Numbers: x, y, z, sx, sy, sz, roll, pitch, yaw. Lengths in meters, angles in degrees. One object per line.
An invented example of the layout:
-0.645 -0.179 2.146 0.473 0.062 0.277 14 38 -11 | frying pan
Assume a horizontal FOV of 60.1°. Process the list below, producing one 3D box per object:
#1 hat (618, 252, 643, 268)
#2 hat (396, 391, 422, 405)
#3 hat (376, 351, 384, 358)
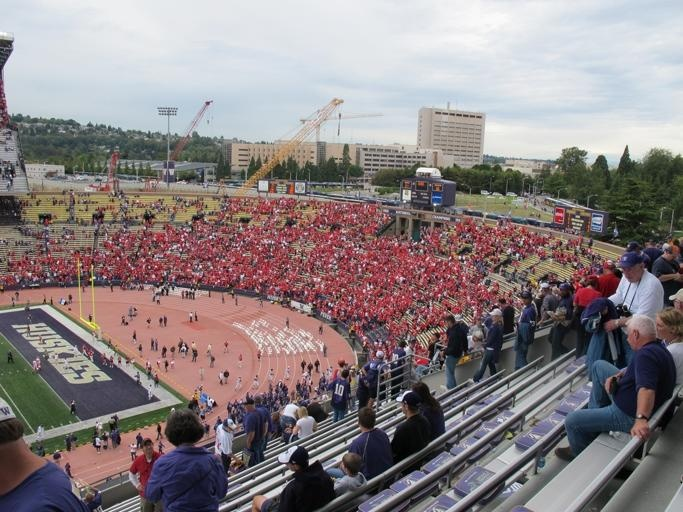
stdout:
4.538 0.061 9.287 0.311 0.263 0.215 7 11 25 | hat
1.035 2.135 8.899 0.229 0.248 0.270 0 10 -10 | hat
0.890 2.276 13.603 0.132 0.110 0.135 -12 17 -19 | hat
